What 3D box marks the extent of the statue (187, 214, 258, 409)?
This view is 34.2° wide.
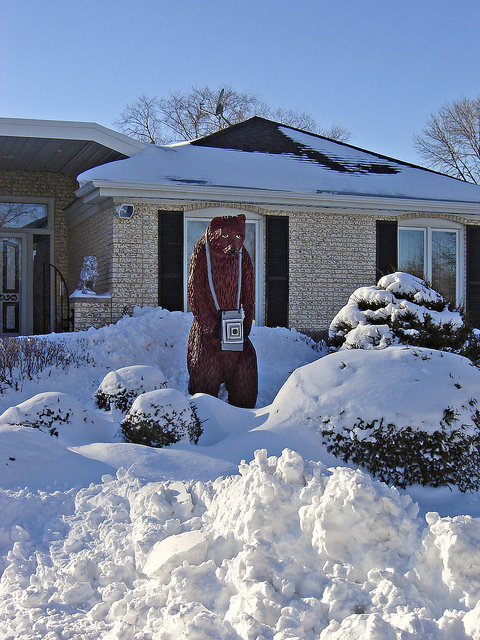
[{"bbox_3d":[-0.180,-0.066,7.638,0.681,1.896,0.608,0,0,-3],"label":"statue"}]

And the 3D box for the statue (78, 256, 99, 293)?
[{"bbox_3d":[-2.485,-0.730,12.562,0.300,0.593,0.612,0,0,-12],"label":"statue"}]
